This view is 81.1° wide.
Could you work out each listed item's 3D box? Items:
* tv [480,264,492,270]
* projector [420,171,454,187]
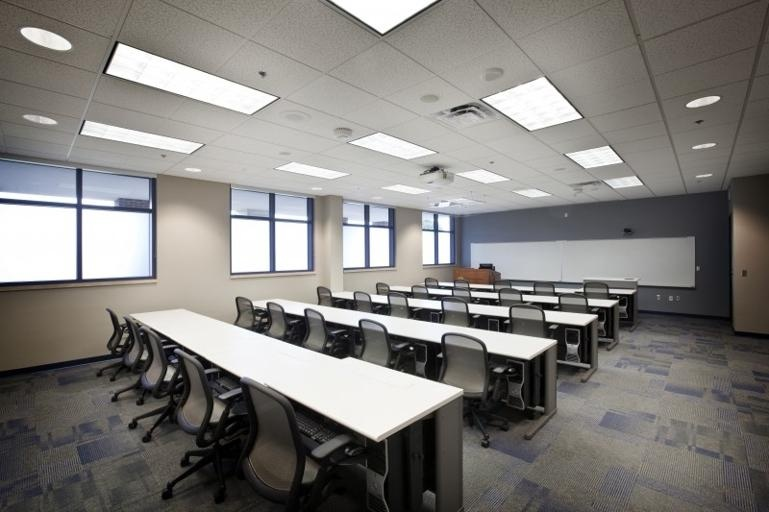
[{"bbox_3d":[3.049,0.321,13.546,0.348,0.169,0.329,0,-5,27],"label":"tv"},{"bbox_3d":[0.994,-1.394,7.958,0.370,0.131,0.364,1,-3,-29],"label":"projector"}]
